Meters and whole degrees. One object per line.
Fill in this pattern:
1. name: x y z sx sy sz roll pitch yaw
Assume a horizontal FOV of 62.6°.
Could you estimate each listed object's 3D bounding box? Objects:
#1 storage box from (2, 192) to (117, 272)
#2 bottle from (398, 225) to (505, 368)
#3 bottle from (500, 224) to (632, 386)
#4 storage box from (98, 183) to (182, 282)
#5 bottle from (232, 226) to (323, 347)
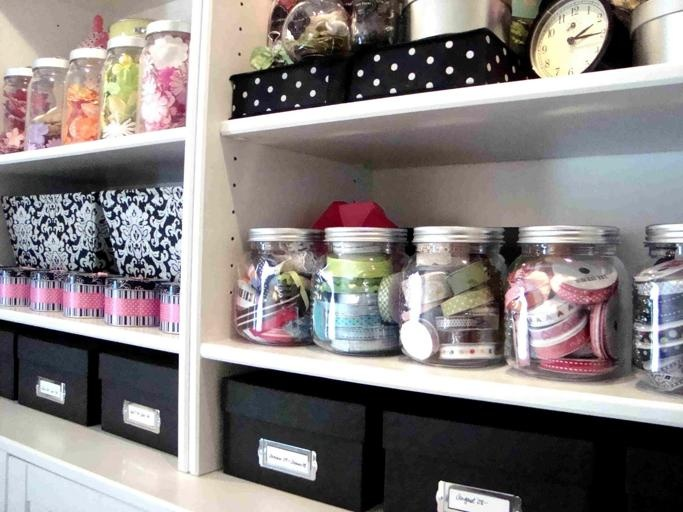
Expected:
1. storage box: -0.854 -0.116 1.767 0.433 0.302 0.241 1 5 34
2. bottle: 0.207 0.077 1.110 0.227 0.259 0.228 -3 -5 41
3. bottle: 0.344 0.073 1.045 0.247 0.274 0.203 -1 1 -3
4. storage box: -0.538 -0.060 1.508 0.254 0.183 0.074 7 9 30
5. bottle: -0.095 0.073 1.271 0.229 0.232 0.208 2 -3 9
